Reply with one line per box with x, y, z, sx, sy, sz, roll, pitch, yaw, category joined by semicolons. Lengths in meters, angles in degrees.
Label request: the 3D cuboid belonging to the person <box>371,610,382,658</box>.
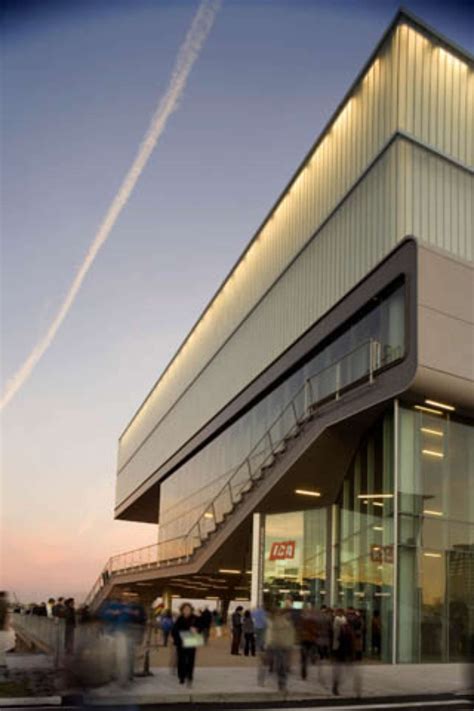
3.455;6.834;16.560;0.163;1.083;0.567;4;-15;-4;person
